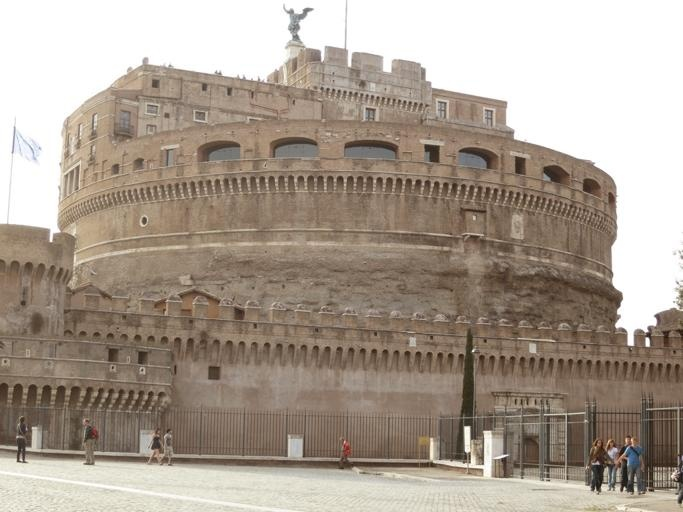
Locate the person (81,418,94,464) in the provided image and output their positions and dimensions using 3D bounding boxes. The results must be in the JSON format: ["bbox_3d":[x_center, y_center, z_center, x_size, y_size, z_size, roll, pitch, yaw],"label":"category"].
[{"bbox_3d":[-9.082,6.741,55.490,0.401,1.703,0.899,2,-14,-8],"label":"person"}]

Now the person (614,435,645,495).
[{"bbox_3d":[9.787,7.142,52.294,0.776,2.041,1.229,-3,-14,10],"label":"person"}]
